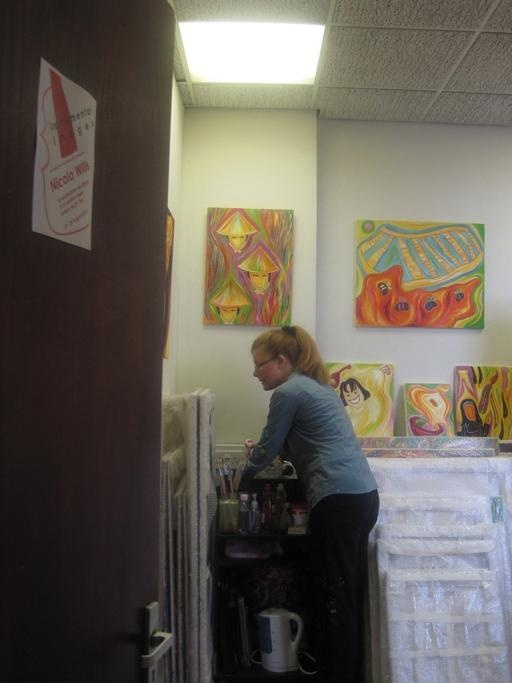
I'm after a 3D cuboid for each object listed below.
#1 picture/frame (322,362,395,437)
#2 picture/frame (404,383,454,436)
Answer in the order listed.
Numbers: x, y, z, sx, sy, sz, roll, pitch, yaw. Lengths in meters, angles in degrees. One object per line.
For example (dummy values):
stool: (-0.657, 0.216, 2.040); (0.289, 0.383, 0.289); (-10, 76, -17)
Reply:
picture/frame: (0.552, 0.302, 2.911); (0.349, 0.500, 0.039); (-1, 30, 14)
picture/frame: (0.909, 0.370, 2.877); (0.238, 0.343, 0.031); (1, -37, 16)
